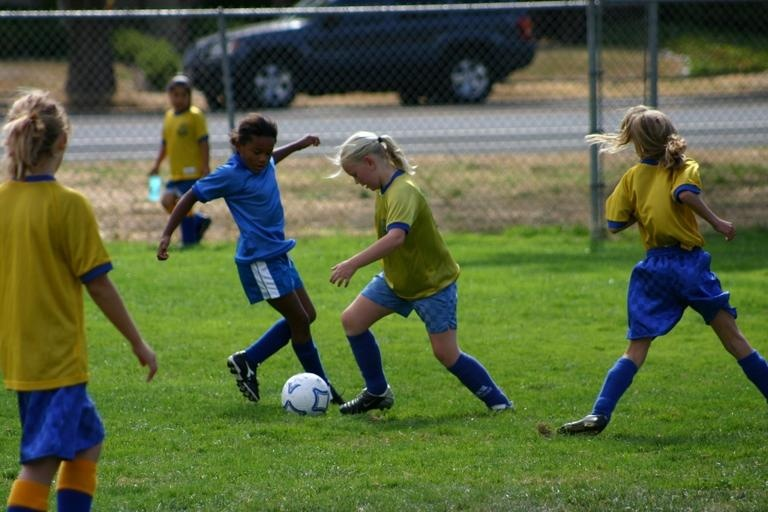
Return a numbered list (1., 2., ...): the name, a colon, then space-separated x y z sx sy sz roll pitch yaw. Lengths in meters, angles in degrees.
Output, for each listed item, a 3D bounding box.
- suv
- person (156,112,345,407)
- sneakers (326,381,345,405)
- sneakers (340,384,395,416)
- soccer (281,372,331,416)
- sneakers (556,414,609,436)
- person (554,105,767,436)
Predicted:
1. suv: -0.355 -3.015 17.276 4.570 1.610 1.913 -2 6 -21
2. person: -1.147 0.043 11.705 1.349 2.714 0.750 -4 8 -6
3. sneakers: -0.436 1.285 11.706 0.206 0.079 0.150 44 9 -37
4. sneakers: -0.141 1.333 11.673 0.556 0.295 0.199 -5 4 -2
5. soccer: -0.690 1.268 11.681 0.400 0.381 0.399 29 -6 3
6. sneakers: 1.735 1.493 11.121 0.457 0.196 0.157 1 -16 10
7. person: 2.466 0.091 11.113 1.594 2.813 0.758 -3 8 6
